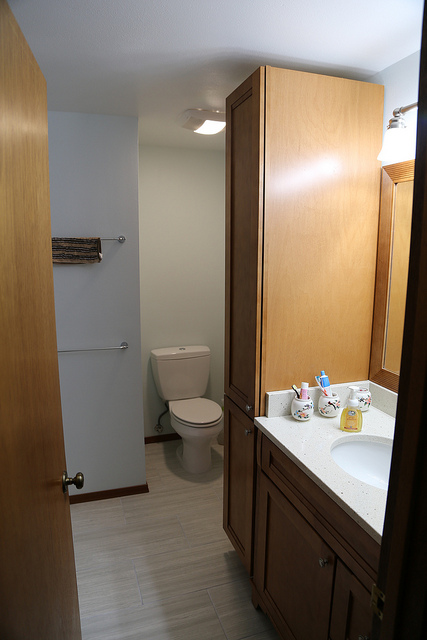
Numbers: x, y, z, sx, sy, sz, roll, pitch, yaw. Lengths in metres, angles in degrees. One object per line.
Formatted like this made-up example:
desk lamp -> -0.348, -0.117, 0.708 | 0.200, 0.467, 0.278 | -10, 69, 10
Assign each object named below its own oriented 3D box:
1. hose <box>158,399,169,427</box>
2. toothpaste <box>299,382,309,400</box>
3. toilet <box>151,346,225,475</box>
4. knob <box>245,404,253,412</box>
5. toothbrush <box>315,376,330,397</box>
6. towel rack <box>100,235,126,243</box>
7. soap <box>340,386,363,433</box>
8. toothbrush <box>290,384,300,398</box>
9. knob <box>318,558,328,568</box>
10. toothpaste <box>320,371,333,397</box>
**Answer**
hose -> -0.379, 0.718, 3.375 | 0.066, 0.266, 0.048 | 8, -6, -18
toothpaste -> 0.345, 0.270, 1.690 | 0.030, 0.056, 0.047 | 1, 7, 13
toilet -> -0.156, 0.618, 3.168 | 0.524, 0.776, 0.781 | -2, 7, -15
knob -> 0.142, 0.351, 1.758 | 0.023, 0.021, 0.016 | -1, 12, -27
toothbrush -> 0.425, 0.261, 1.737 | 0.013, 0.100, 0.024 | 7, -38, -27
towel rack -> -0.557, -0.442, 2.449 | 0.122, 0.062, 0.031 | 0, -29, -1
soap -> 0.500, 0.333, 1.593 | 0.065, 0.063, 0.196 | 1, 48, 20
toothbrush -> 0.323, 0.272, 1.722 | 0.011, 0.062, 0.012 | -18, 5, -29
knob -> 0.301, 0.656, 1.208 | 0.018, 0.018, 0.025 | 2, 17, 2
toothpaste -> 0.447, 0.250, 1.750 | 0.049, 0.082, 0.086 | 1, 7, 16
